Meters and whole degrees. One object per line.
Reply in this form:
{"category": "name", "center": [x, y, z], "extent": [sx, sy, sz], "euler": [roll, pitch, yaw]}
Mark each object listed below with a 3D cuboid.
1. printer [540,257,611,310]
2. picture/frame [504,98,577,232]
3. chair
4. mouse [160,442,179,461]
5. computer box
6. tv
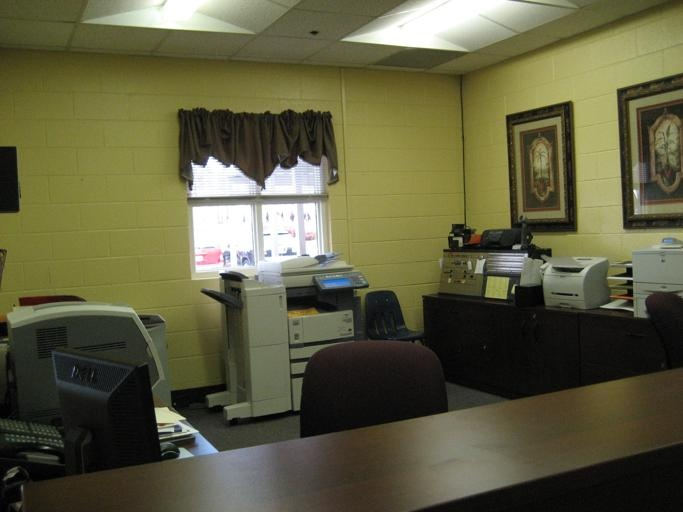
{"category": "printer", "center": [1.923, 0.189, 4.351], "extent": [0.448, 0.432, 0.439], "euler": [1, 1, 42]}
{"category": "picture/frame", "center": [1.942, -0.838, 5.117], "extent": [0.117, 1.193, 0.746], "euler": [-7, 7, -30]}
{"category": "chair", "center": [0.104, 0.463, 2.142], "extent": [0.416, 0.570, 0.420], "euler": [-2, -6, -5]}
{"category": "mouse", "center": [-0.588, 0.662, 1.804], "extent": [0.053, 0.045, 0.104], "euler": [-6, 6, -22]}
{"category": "computer box", "center": [-1.022, 0.310, 2.130], "extent": [0.579, 0.398, 0.567], "euler": [-1, 1, -27]}
{"category": "tv", "center": [-0.666, 0.436, 1.459], "extent": [0.410, 0.350, 0.147], "euler": [2, 10, 39]}
